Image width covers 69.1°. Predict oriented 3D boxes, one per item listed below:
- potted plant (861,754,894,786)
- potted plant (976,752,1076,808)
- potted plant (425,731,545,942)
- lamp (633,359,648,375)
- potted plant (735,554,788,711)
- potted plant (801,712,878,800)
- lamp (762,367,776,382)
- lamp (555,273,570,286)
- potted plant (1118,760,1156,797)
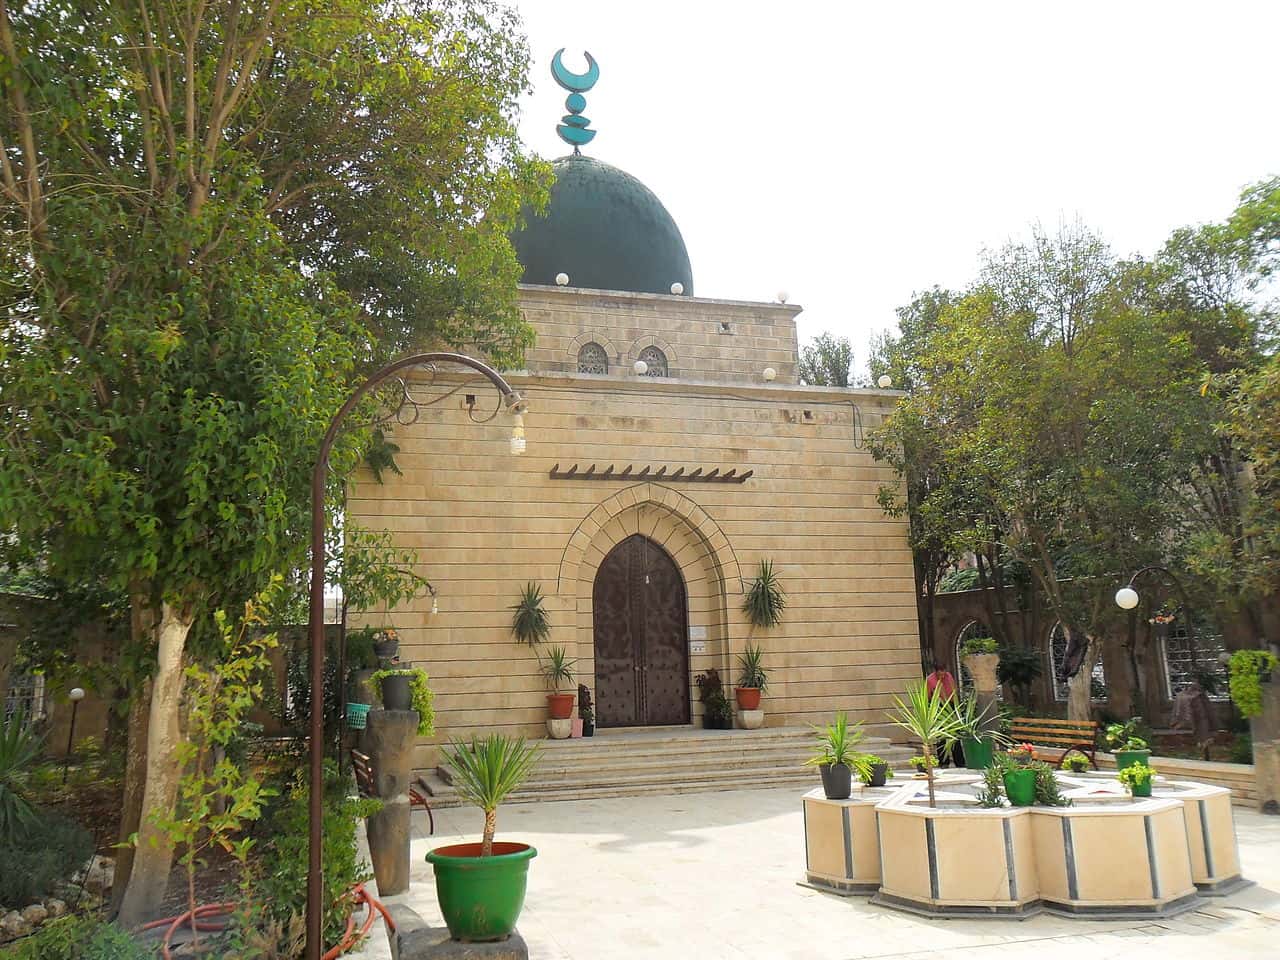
[{"bbox_3d":[2.556,3.230,10.304,0.392,0.323,0.378,3,-4,-38],"label":"potted plant"},{"bbox_3d":[3.830,3.114,9.497,0.701,0.514,0.599,2,-22,-2],"label":"potted plant"},{"bbox_3d":[-1.380,3.148,8.212,0.897,1.701,0.773,1,-7,-7],"label":"potted plant"},{"bbox_3d":[0.018,-2.291,19.345,0.300,0.440,0.416,2,15,-2],"label":"lamp"},{"bbox_3d":[2.332,3.090,18.165,0.964,3.142,0.522,1,-7,-5],"label":"potted plant"},{"bbox_3d":[2.261,2.992,10.261,0.625,0.864,0.950,-2,-8,15],"label":"potted plant"},{"bbox_3d":[2.861,-2.394,21.006,0.298,0.413,0.423,1,-2,10],"label":"lamp"},{"bbox_3d":[-1.797,-4.665,21.781,0.350,0.510,0.369,0,12,2],"label":"lamp"},{"bbox_3d":[5.282,3.133,9.833,0.327,0.362,0.334,-1,-16,4],"label":"potted plant"}]
